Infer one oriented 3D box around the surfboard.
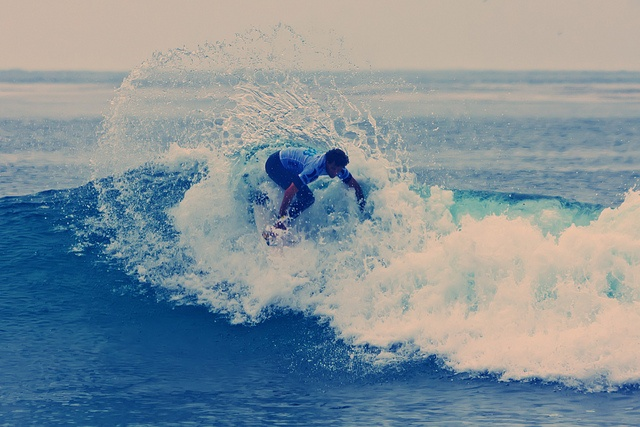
[{"bbox_3d":[-1.491,0.115,34.369,0.999,1.703,0.617,-19,-7,-6],"label":"surfboard"}]
